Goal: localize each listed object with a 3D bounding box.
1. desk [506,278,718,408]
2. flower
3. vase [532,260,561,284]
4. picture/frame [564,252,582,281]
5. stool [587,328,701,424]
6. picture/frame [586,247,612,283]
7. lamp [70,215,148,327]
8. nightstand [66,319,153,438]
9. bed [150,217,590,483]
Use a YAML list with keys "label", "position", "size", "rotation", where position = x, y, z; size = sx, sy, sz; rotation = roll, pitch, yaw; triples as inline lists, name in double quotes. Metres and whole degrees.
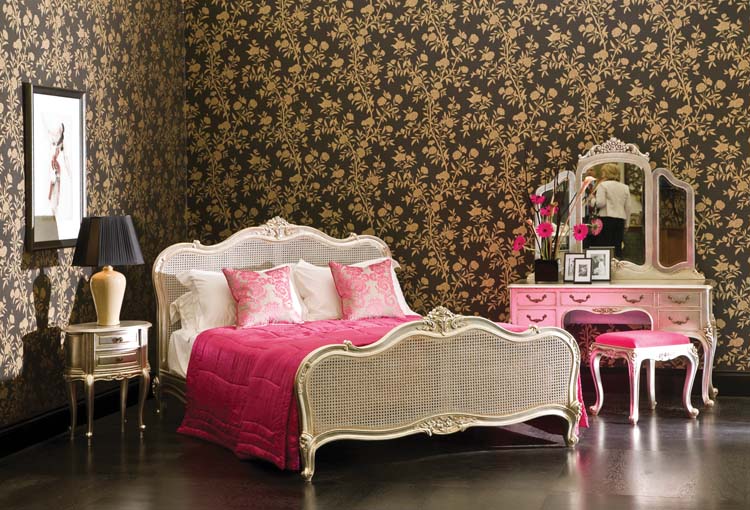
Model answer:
- label: "desk"
  position: [2.089, 0.732, 6.094]
  size: [1.706, 0.947, 0.636]
  rotation: [-1, 6, 19]
- label: "flower"
  position: [1.568, -0.202, 6.244]
  size: [0.550, 0.711, 0.621]
  rotation: [-7, -13, 35]
- label: "vase"
  position: [1.543, 0.157, 6.000]
  size: [0.192, 0.198, 0.199]
  rotation: [0, -1, 9]
- label: "picture/frame"
  position: [1.802, 0.118, 6.150]
  size: [0.210, 0.299, 0.022]
  rotation: [3, -10, 7]
- label: "stool"
  position: [2.265, 1.004, 5.727]
  size: [0.684, 0.679, 0.698]
  rotation: [0, -3, -19]
- label: "picture/frame"
  position: [2.039, 0.106, 6.170]
  size: [0.287, 0.373, 0.026]
  rotation: [0, -6, 1]
- label: "lamp"
  position: [-2.135, 0.135, 5.390]
  size: [0.555, 0.853, 0.557]
  rotation: [-3, -2, 12]
- label: "nightstand"
  position: [-2.103, 0.975, 5.325]
  size: [0.674, 0.821, 0.432]
  rotation: [1, -1, -45]
- label: "bed"
  position: [-0.283, 0.686, 5.868]
  size: [2.551, 1.837, 3.162]
  rotation: [-1, -1, -28]
